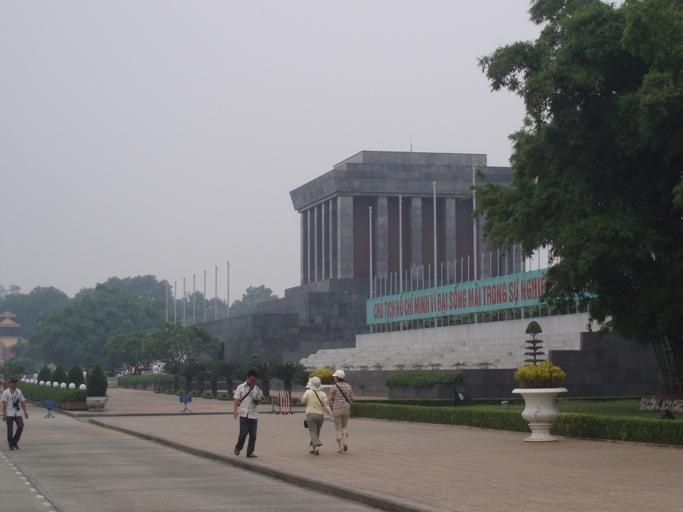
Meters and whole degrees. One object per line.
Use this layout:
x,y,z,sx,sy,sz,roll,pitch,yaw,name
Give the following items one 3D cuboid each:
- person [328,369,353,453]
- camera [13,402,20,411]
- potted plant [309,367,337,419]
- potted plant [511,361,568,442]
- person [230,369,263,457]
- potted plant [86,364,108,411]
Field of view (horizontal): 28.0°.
-0.035,5.078,44.531,0.907,2.645,0.806,8,-11,-35,person
-11.033,5.104,46.525,0.092,0.260,0.279,-5,-13,23,camera
-0.936,6.943,72.860,1.237,1.753,1.753,8,-13,-5,potted plant
6.945,5.081,48.011,2.474,2.671,2.449,6,-9,-38,potted plant
-2.990,5.020,43.537,0.816,2.795,1.138,0,-11,-4,person
-12.437,6.692,69.344,0.988,2.275,1.571,2,-12,-12,potted plant
